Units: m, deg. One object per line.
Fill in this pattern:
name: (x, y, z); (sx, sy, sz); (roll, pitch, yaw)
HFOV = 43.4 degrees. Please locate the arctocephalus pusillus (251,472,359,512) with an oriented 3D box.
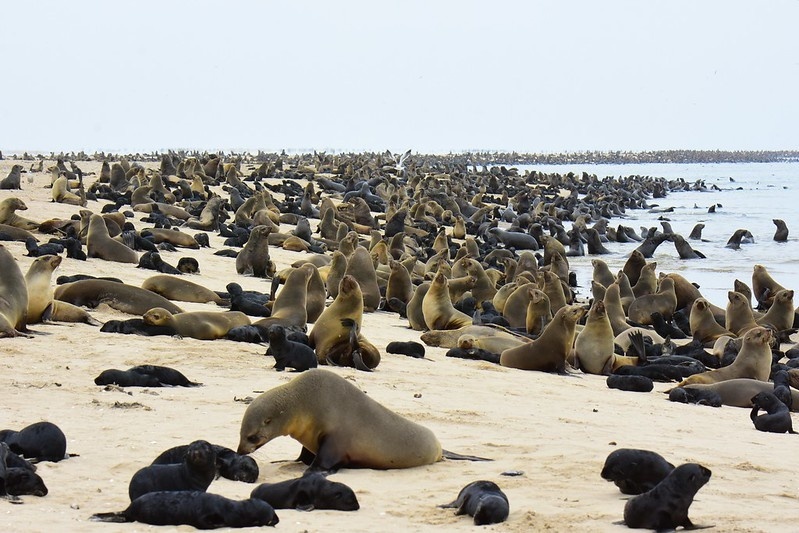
arctocephalus pusillus: (-0.853, 2.104, 9.186); (0.578, 0.204, 0.445); (2, 0, 2)

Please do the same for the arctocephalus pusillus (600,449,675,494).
arctocephalus pusillus: (2.275, 1.955, 9.567); (0.568, 0.327, 0.379); (5, 30, -3)

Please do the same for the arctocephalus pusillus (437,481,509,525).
arctocephalus pusillus: (0.768, 2.186, 9.159); (0.359, 0.167, 0.459); (-1, 2, -9)
